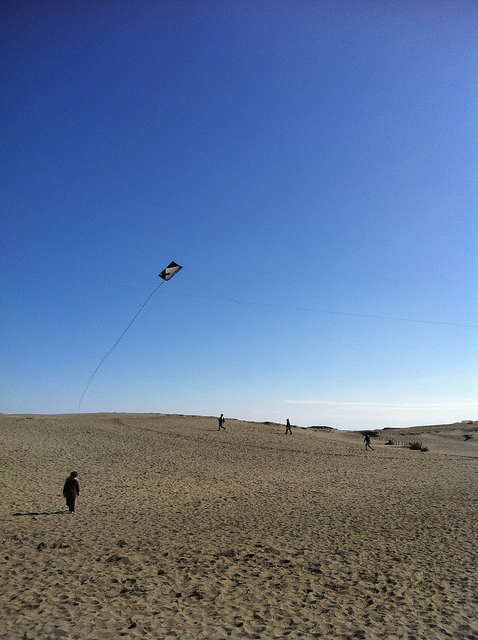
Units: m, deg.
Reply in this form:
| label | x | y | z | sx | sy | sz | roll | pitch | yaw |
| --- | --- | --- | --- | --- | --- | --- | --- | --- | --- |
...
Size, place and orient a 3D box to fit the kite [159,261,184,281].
| label | x | y | z | sx | sy | sz | roll | pitch | yaw |
| --- | --- | --- | --- | --- | --- | --- | --- | --- | --- |
| kite | -1.491 | -1.076 | 12.788 | 0.275 | 0.338 | 0.244 | -2 | -7 | 38 |

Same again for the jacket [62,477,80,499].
| label | x | y | z | sx | sy | sz | roll | pitch | yaw |
| --- | --- | --- | --- | --- | --- | --- | --- | --- | --- |
| jacket | -4.727 | 4.749 | 16.577 | 0.374 | 0.562 | 0.666 | 3 | -5 | -11 |

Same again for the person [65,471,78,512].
| label | x | y | z | sx | sy | sz | roll | pitch | yaw |
| --- | --- | --- | --- | --- | --- | --- | --- | --- | --- |
| person | -4.688 | 4.811 | 16.408 | 0.396 | 1.093 | 0.367 | 7 | -7 | -38 |
